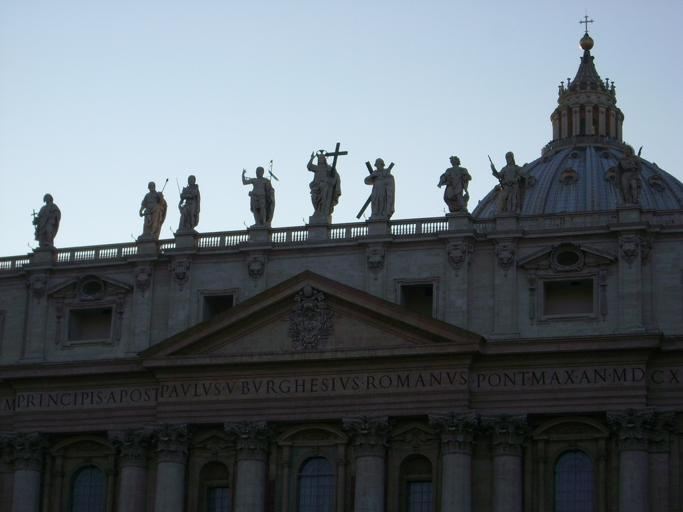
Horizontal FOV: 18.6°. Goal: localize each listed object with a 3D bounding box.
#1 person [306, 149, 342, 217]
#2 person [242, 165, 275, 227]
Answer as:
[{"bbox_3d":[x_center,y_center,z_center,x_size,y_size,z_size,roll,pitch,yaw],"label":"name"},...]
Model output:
[{"bbox_3d":[-0.980,-3.228,101.291,1.563,3.350,0.815,3,-20,1],"label":"person"},{"bbox_3d":[-4.168,-2.776,101.771,1.500,2.959,0.814,-1,-12,0],"label":"person"}]
